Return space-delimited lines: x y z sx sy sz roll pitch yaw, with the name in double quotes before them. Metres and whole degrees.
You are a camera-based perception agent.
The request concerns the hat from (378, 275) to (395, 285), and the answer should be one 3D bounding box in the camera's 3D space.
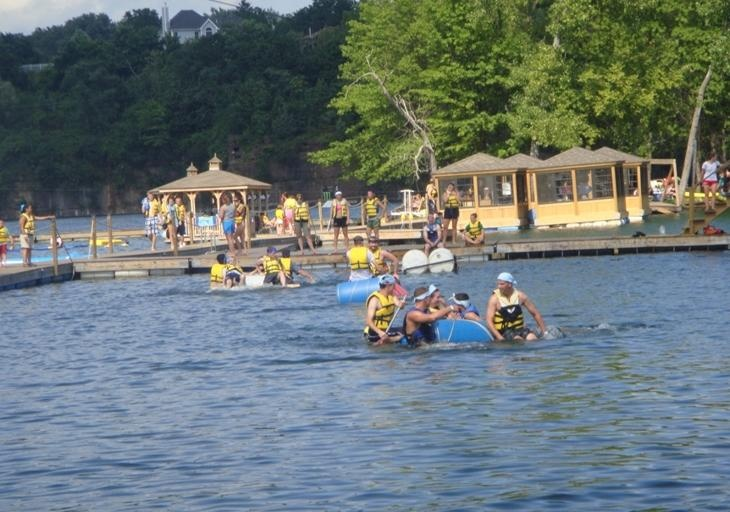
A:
"hat" 0.923 0.983 60.828 0.564 0.387 0.606 -4 0 4
